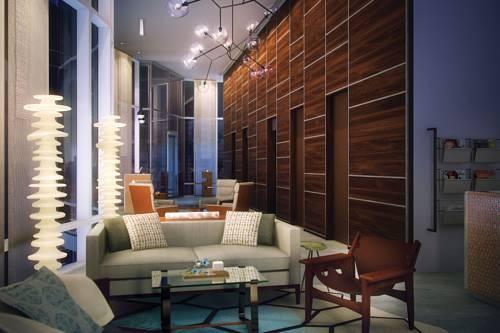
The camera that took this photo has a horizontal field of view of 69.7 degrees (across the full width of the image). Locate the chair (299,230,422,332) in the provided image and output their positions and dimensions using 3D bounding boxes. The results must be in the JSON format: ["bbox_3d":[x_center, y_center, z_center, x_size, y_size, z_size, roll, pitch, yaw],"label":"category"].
[{"bbox_3d":[1.225,1.284,4.017,1.155,0.945,0.827,-3,3,-29],"label":"chair"}]

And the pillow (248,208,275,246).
[{"bbox_3d":[0.158,0.876,5.073,0.573,0.542,0.222,3,-14,-1],"label":"pillow"}]
